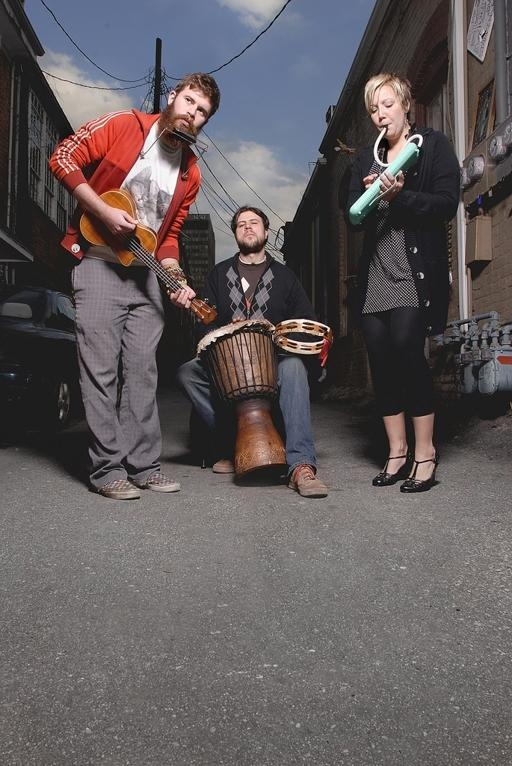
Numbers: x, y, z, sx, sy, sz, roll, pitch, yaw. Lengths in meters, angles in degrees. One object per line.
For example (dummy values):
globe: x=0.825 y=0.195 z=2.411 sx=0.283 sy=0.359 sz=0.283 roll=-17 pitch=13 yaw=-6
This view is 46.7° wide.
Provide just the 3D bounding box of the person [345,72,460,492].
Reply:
person: x=0.701 y=-0.480 z=2.874 sx=0.468 sy=2.004 sz=0.564 roll=0 pitch=2 yaw=-5

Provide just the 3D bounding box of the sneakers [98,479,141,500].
sneakers: x=-0.629 y=0.493 z=2.720 sx=0.080 sy=0.060 sz=0.162 roll=9 pitch=-12 yaw=-43

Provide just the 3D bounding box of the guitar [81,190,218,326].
guitar: x=-0.501 y=-0.601 z=2.918 sx=0.301 sy=0.786 sz=0.089 roll=-41 pitch=22 yaw=12

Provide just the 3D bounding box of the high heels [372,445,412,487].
high heels: x=0.737 y=0.439 z=3.107 sx=0.116 sy=0.146 sz=0.344 roll=-6 pitch=3 yaw=37

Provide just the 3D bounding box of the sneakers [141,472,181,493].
sneakers: x=-0.451 y=0.492 z=2.895 sx=0.078 sy=0.067 sz=0.182 roll=4 pitch=-10 yaw=-39

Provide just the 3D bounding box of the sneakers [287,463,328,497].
sneakers: x=0.254 y=0.469 z=2.844 sx=0.155 sy=0.125 sz=0.282 roll=0 pitch=2 yaw=-4
